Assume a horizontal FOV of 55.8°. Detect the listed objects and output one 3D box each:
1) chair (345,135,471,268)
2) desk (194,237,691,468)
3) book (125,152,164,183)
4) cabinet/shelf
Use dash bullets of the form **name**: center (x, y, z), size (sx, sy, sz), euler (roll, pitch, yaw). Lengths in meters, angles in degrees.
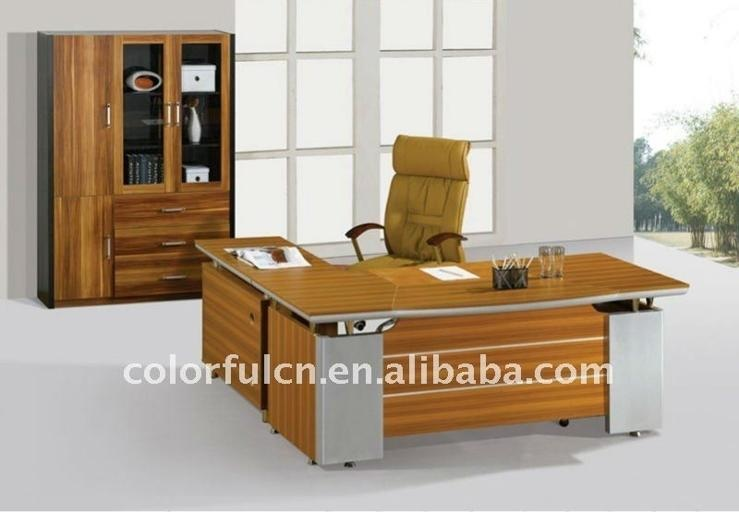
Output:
- **chair**: center (0.307, -0.327, 5.536), size (1.065, 1.088, 0.948), euler (-10, 18, -29)
- **desk**: center (0.448, 0.505, 3.789), size (1.511, 0.568, 1.711), euler (-3, 7, -20)
- **book**: center (-2.079, -0.815, 6.452), size (0.289, 0.334, 0.376), euler (0, 9, -23)
- **cabinet/shelf**: center (-2.124, -0.820, 6.463), size (1.757, 2.467, 0.408), euler (-4, 14, -16)
